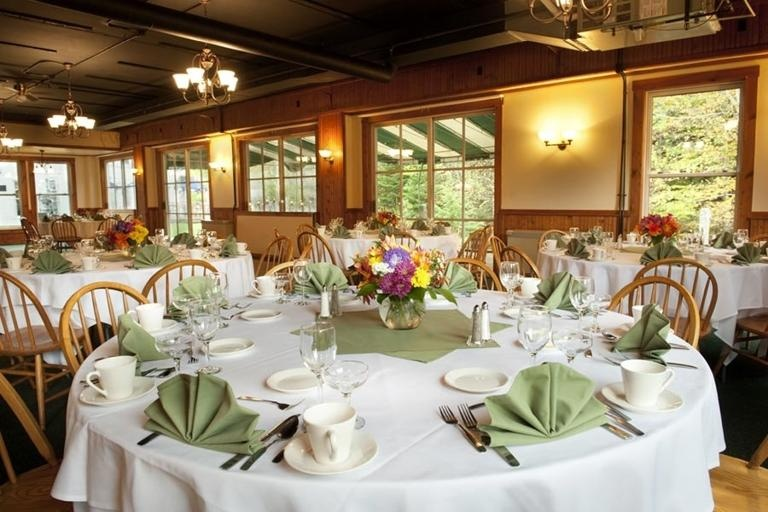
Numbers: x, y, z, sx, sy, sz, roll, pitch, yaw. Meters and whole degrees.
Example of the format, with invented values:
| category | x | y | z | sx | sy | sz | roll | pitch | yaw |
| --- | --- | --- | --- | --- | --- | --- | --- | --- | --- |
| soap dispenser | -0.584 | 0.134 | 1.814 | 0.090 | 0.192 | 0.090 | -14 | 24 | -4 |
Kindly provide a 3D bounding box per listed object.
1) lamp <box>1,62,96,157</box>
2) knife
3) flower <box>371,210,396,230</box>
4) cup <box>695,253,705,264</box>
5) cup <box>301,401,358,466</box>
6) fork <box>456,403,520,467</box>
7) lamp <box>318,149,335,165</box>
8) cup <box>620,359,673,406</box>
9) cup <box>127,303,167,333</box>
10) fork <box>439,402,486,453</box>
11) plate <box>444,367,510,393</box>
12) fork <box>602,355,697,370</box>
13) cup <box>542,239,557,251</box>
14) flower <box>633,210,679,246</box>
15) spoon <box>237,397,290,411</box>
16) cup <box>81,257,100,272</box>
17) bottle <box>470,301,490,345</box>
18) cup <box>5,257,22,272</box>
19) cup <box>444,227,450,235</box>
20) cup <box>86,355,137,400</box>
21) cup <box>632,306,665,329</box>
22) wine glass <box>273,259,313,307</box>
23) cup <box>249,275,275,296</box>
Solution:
| category | x | y | z | sx | sy | sz | roll | pitch | yaw |
| --- | --- | --- | --- | --- | --- | --- | --- | --- | --- |
| lamp | -7.079 | -3.105 | 10.504 | 2.045 | 1.217 | 0.667 | -2 | 6 | -12 |
| knife | -0.386 | 0.612 | 1.628 | 0.084 | 0.042 | 0.304 | 18 | 19 | 17 |
| flower | 0.001 | -0.478 | 6.798 | 0.316 | 0.206 | 0.308 | 5 | 11 | 25 |
| cup | 2.270 | 0.018 | 3.591 | 0.077 | 0.062 | 0.081 | 0 | 6 | 0 |
| cup | -0.168 | 0.556 | 1.555 | 0.153 | 0.120 | 0.197 | 0 | 10 | 0 |
| fork | 0.335 | 0.576 | 1.675 | 0.062 | 0.054 | 0.383 | 7 | 9 | -13 |
| lamp | -1.030 | -1.828 | 9.241 | 0.272 | 0.281 | 0.285 | 9 | 10 | 31 |
| cup | 0.929 | 0.440 | 1.780 | 0.184 | 0.113 | 0.145 | 2 | 0 | -26 |
| cup | -1.073 | 0.277 | 2.272 | 0.126 | 0.099 | 0.142 | -1 | -2 | 0 |
| fork | 0.258 | 0.566 | 1.682 | 0.057 | 0.029 | 0.220 | -9 | 19 | -12 |
| plate | 0.353 | 0.474 | 1.915 | 0.246 | 0.051 | 0.148 | -1 | 5 | 9 |
| fork | 1.080 | 0.432 | 2.021 | 0.315 | 0.015 | 0.099 | 5 | 16 | 9 |
| cup | 1.578 | -0.100 | 4.772 | 0.124 | 0.086 | 0.095 | 1 | 7 | 32 |
| flower | 2.379 | -0.240 | 4.318 | 0.316 | 0.284 | 0.305 | -5 | 6 | -34 |
| spoon | -0.433 | 0.533 | 1.797 | 0.223 | 0.029 | 0.044 | 3 | 15 | 21 |
| cup | -2.317 | 0.055 | 4.005 | 0.094 | 0.093 | 0.140 | 1 | -2 | 30 |
| bottle | 0.441 | 0.302 | 2.286 | 0.094 | 0.172 | 0.166 | -1 | 6 | 11 |
| cup | -2.927 | 0.060 | 3.976 | 0.103 | 0.105 | 0.151 | 2 | 15 | -28 |
| cup | 0.857 | -0.335 | 6.695 | 0.108 | 0.092 | 0.103 | 0 | -5 | 0 |
| cup | -0.999 | 0.445 | 1.893 | 0.192 | 0.117 | 0.150 | -6 | 14 | -36 |
| cup | 1.152 | 0.249 | 2.216 | 0.151 | 0.093 | 0.145 | -2 | 3 | 0 |
| wine glass | -0.516 | 0.173 | 2.972 | 0.313 | 0.263 | 0.245 | 0 | 0 | -44 |
| cup | -0.719 | 0.176 | 3.037 | 0.123 | 0.116 | 0.208 | -4 | 6 | -13 |
